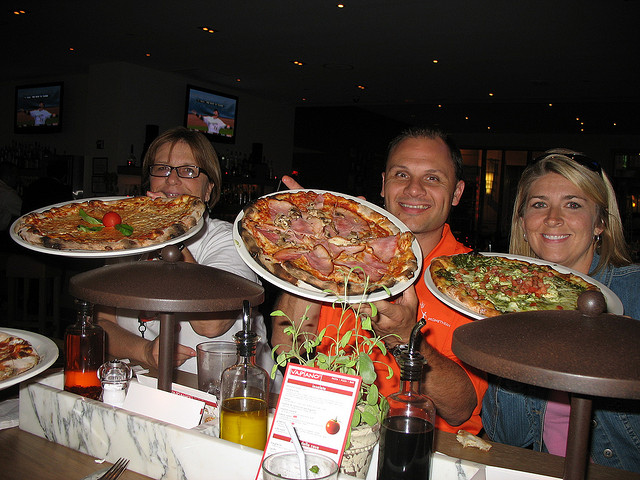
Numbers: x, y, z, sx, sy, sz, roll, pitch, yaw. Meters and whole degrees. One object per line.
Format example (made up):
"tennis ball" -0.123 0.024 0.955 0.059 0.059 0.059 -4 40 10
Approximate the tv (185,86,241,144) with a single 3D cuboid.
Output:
"tv" -1.978 -2.345 8.178 1.376 0.893 0.121 21 22 28

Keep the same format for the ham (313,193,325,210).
"ham" -0.009 -0.142 1.624 0.053 0.046 0.019 7 -16 4

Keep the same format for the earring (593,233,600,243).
"earring" 1.165 -0.010 1.859 0.029 0.034 0.015 2 3 9

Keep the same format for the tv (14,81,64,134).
"tv" -5.251 -2.490 8.183 0.094 0.888 1.094 23 26 6

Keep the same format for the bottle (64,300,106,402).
"bottle" -0.699 0.323 1.315 0.114 0.277 0.317 4 2 -27

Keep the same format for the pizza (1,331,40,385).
"pizza" -0.795 0.313 1.165 0.103 0.019 0.091 -2 35 -23

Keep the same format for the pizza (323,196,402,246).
"pizza" 0.144 -0.080 1.572 0.252 0.041 0.169 -3 47 -32

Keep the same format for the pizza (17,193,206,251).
"pizza" -0.757 -0.087 1.673 0.621 0.219 0.742 3 3 -39

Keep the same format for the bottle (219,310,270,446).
"bottle" -0.179 0.358 1.073 0.127 0.370 0.120 0 -4 0

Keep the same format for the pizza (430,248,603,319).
"pizza" 0.642 0.158 1.712 0.556 0.232 0.539 3 2 -24

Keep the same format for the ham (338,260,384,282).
"ham" 0.138 0.091 1.350 0.111 0.018 0.065 19 24 31
